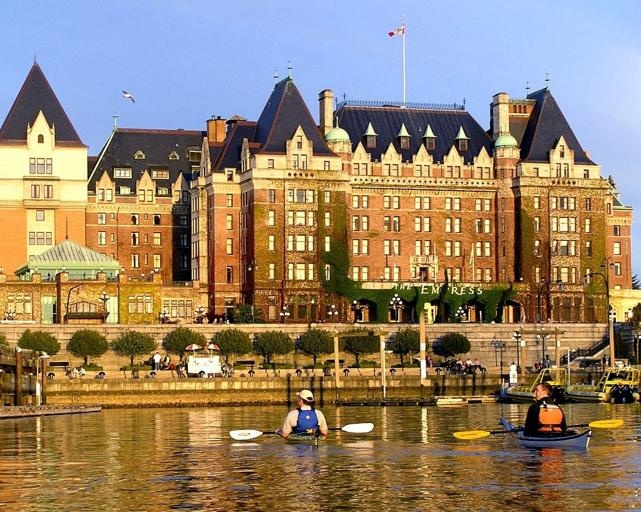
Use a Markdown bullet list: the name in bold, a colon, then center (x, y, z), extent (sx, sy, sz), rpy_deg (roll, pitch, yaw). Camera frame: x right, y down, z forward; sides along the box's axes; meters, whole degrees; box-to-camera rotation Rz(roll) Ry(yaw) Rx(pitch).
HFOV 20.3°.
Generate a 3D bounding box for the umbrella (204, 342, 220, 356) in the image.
- **umbrella**: center (-8.508, 7.721, 142.818), extent (1.127, 1.041, 1.210), rpy_deg (0, -23, 3)

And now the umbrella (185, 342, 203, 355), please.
- **umbrella**: center (-9.676, 6.995, 138.498), extent (1.196, 0.437, 1.272), rpy_deg (-3, -11, 8)
